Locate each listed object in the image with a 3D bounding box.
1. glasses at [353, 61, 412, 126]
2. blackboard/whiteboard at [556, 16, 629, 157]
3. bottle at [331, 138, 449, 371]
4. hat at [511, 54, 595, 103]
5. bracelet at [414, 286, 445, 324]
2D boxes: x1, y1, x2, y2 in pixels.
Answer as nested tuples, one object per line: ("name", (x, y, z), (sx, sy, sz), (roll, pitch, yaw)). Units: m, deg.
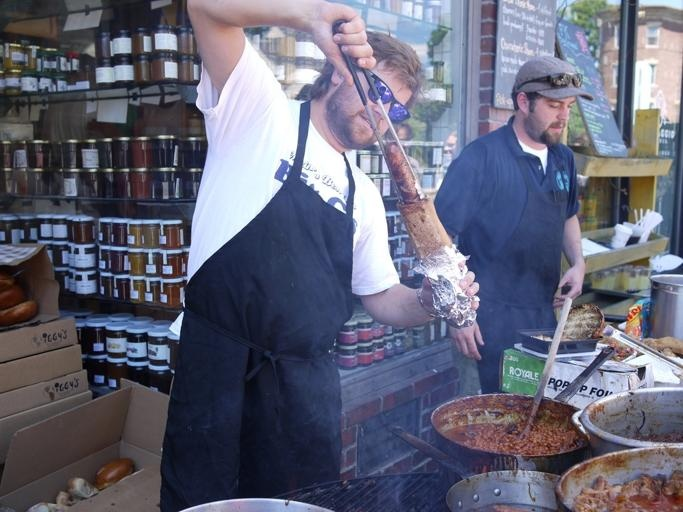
("glasses", (0.108, -0.585, 2.778), (0.219, 0.067, 0.234), (33, 5, -41))
("blackboard/whiteboard", (1.766, -1.135, 5.379), (0.385, 1.170, 0.594), (11, 16, 41))
("bottle", (0.206, 0.019, 4.116), (0.330, 1.087, 0.380), (-1, 18, -14))
("hat", (1.074, -0.878, 3.920), (0.294, 0.228, 0.429), (-8, 12, -36))
("bracelet", (0.337, 0.193, 2.868), (0.045, 0.126, 0.091), (-35, 7, 11))
